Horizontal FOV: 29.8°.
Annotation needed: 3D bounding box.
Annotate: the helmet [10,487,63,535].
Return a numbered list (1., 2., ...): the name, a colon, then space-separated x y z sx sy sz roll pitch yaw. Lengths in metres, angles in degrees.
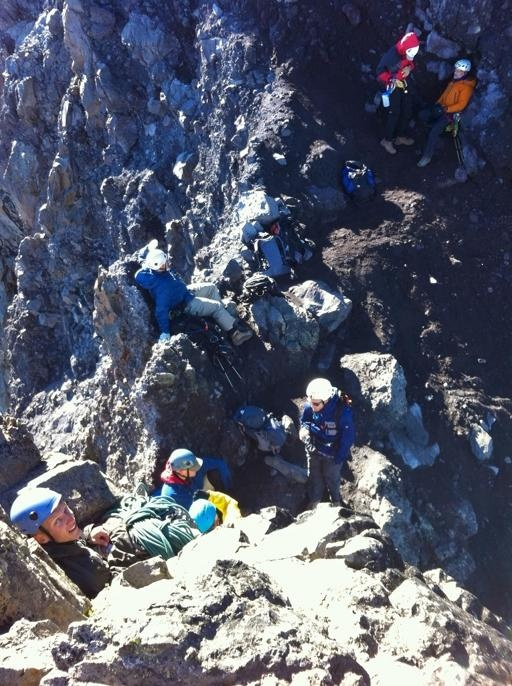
1. helmet: -2.440 1.851 10.726 0.558 0.408 0.428 7 24 -15

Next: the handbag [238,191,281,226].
1. handbag: -0.016 -2.129 15.395 0.663 0.527 0.456 -13 16 13

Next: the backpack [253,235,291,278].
1. backpack: 0.224 -1.333 15.106 0.540 0.672 0.205 -20 6 -3

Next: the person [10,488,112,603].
1. person: -2.226 2.301 11.089 0.700 1.504 0.878 -55 0 -21

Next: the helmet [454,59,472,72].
1. helmet: 3.292 -4.361 15.196 0.253 0.199 0.230 9 -1 -5

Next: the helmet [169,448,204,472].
1. helmet: -0.902 1.496 12.271 0.372 0.183 0.251 -8 27 -15

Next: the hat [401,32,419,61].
1. hat: 2.405 -4.663 15.225 0.328 0.435 0.394 -6 7 -5

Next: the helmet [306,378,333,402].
1. helmet: 0.829 0.627 12.540 0.360 0.292 0.295 -16 16 1

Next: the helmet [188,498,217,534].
1. helmet: -0.642 2.051 11.492 0.282 0.377 0.202 -22 -14 -3

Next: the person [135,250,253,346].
1. person: -0.997 -0.537 13.948 1.422 1.805 0.470 -28 20 -36

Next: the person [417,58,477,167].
1. person: 3.078 -3.702 15.592 1.110 1.495 0.477 -12 17 15
